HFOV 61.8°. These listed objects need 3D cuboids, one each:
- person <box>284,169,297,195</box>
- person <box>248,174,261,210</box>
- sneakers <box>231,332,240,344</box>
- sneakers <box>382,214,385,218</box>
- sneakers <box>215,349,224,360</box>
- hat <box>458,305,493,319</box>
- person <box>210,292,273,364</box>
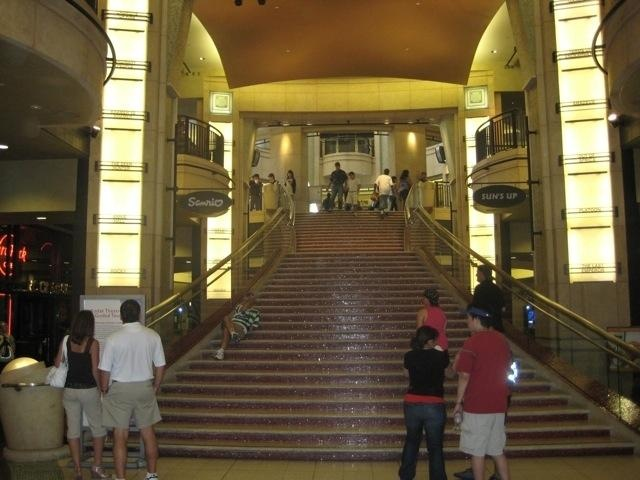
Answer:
[{"bbox_3d":[-1.194,-2.405,22.053,0.483,1.021,1.273,-1,1,-2],"label":"person"},{"bbox_3d":[-2.450,-1.828,20.418,0.479,1.345,0.774,-1,0,-7],"label":"person"},{"bbox_3d":[-1.352,1.588,8.684,0.124,0.179,0.167,1,6,5],"label":"sneakers"},{"bbox_3d":[2.120,-0.800,17.872,0.080,0.159,0.083,1,-13,2],"label":"sneakers"},{"bbox_3d":[-1.586,1.798,8.339,0.086,0.163,0.222,0,-29,7],"label":"sneakers"},{"bbox_3d":[1.541,0.673,5.149,0.219,0.073,0.147,9,-2,15],"label":"hat"},{"bbox_3d":[-1.391,1.394,8.805,0.432,1.034,1.173,-1,1,17],"label":"person"}]
